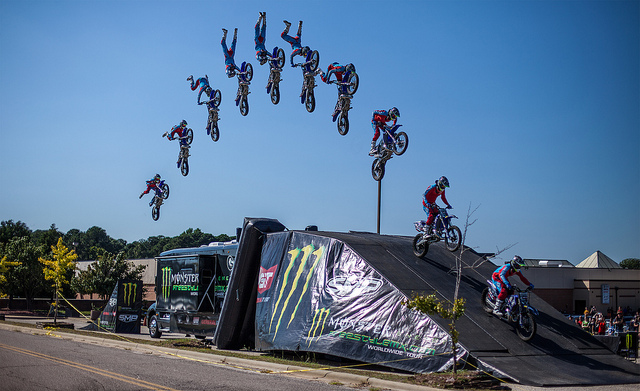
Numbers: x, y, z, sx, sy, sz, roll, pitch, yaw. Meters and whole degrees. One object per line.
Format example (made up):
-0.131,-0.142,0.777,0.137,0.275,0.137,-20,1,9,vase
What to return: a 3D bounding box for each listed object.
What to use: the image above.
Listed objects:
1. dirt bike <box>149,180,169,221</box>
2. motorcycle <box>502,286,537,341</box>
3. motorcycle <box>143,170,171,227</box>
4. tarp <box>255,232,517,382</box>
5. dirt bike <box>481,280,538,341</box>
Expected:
-9.499,0.005,34.195,0.970,2.431,1.394,18,3,-11,dirt bike
8.714,5.097,25.369,1.309,2.324,0.943,-2,-11,23,motorcycle
-9.098,-0.063,32.606,1.486,2.578,1.072,23,12,-31,motorcycle
0.837,4.551,26.534,9.520,6.044,0.753,-4,-12,33,tarp
8.458,4.809,25.945,1.163,1.964,3.468,5,12,-24,dirt bike
